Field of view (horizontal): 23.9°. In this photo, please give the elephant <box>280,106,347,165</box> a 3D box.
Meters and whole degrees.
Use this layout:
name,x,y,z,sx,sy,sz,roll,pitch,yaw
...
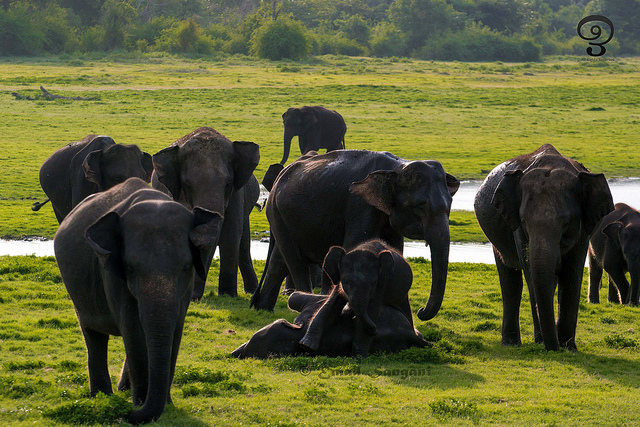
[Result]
name,x,y,z,sx,sy,sz,roll,pitch,yaw
elephant,-0.912,-4.212,73.846,4.315,2.450,1.765,1,-2,-36

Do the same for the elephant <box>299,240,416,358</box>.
name,x,y,z,sx,sy,sz,roll,pitch,yaw
elephant,1.428,3.261,56.972,7.016,3.207,7.481,4,8,12
